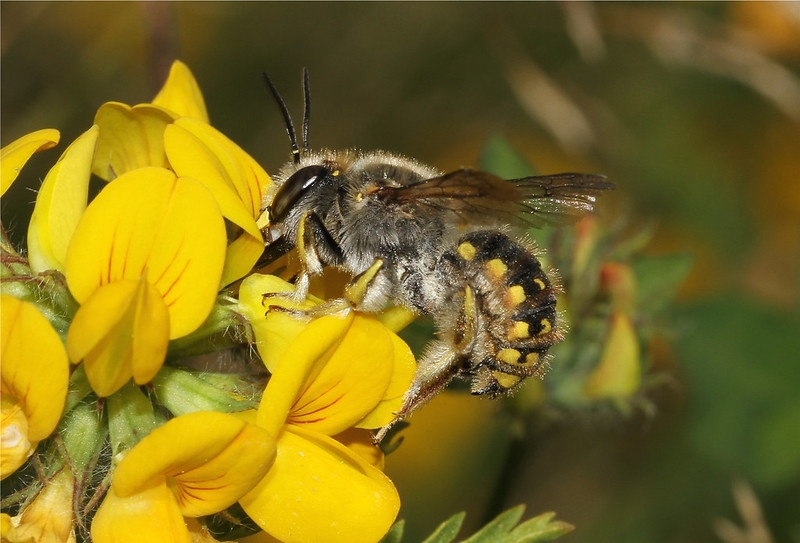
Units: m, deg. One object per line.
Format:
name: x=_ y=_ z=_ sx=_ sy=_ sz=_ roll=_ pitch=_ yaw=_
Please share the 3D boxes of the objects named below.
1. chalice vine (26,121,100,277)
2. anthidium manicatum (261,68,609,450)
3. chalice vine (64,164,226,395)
chalice vine: x=-0.819 y=-0.174 z=2.190 sx=0.080 sy=0.292 sz=0.257 roll=7 pitch=5 yaw=17
anthidium manicatum: x=0.065 y=-0.069 z=2.757 sx=1.028 sy=0.639 sz=1.289 roll=20 pitch=2 yaw=13
chalice vine: x=-0.593 y=0.035 z=2.081 sx=0.347 sy=0.537 sz=0.144 roll=2 pitch=16 yaw=-24
